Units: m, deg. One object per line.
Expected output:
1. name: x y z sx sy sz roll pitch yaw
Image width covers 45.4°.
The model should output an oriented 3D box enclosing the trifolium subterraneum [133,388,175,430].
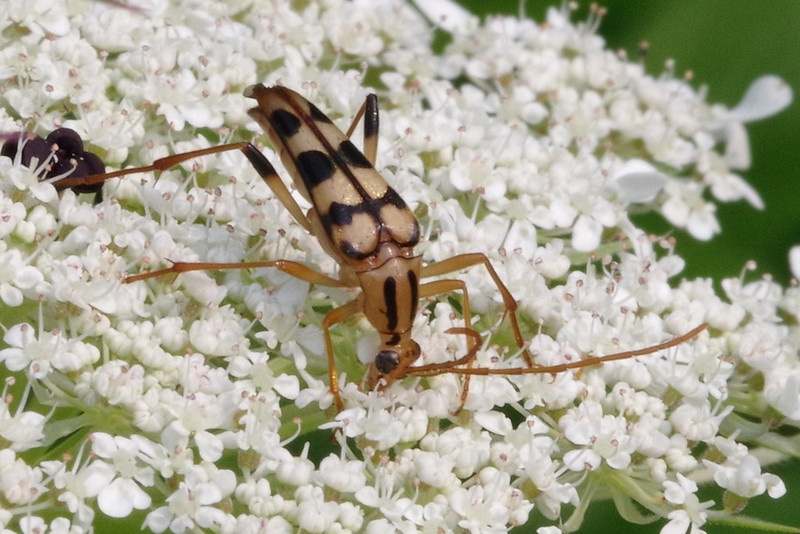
1. trifolium subterraneum: -1.236 0.722 4.802 0.180 0.092 0.199 33 54 -8

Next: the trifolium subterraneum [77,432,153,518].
1. trifolium subterraneum: -1.371 1.025 4.711 0.320 0.272 0.379 9 84 -1

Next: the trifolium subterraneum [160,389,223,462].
1. trifolium subterraneum: -1.060 0.810 4.856 0.313 0.117 0.322 31 70 -22

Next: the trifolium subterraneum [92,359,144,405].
1. trifolium subterraneum: -1.407 0.573 4.767 0.205 0.218 0.212 8 42 -12
